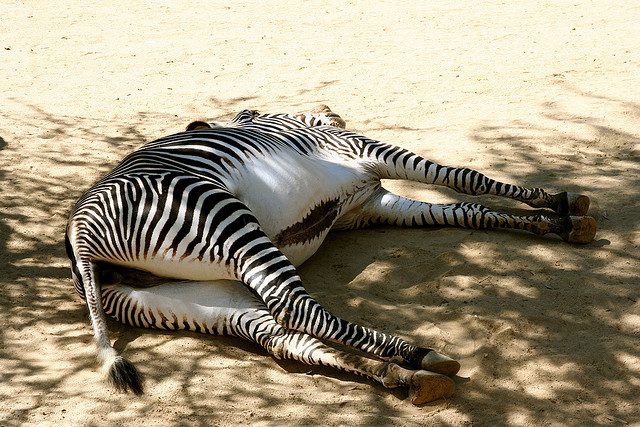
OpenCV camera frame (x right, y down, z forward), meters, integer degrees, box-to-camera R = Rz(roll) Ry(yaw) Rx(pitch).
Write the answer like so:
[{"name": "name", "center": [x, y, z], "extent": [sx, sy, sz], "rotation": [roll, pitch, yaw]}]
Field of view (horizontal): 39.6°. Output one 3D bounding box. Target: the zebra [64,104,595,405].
[{"name": "zebra", "center": [-0.036, 0.419, 10.749], "extent": [4.155, 0.952, 5.171], "rotation": [16, 26, 31]}]
